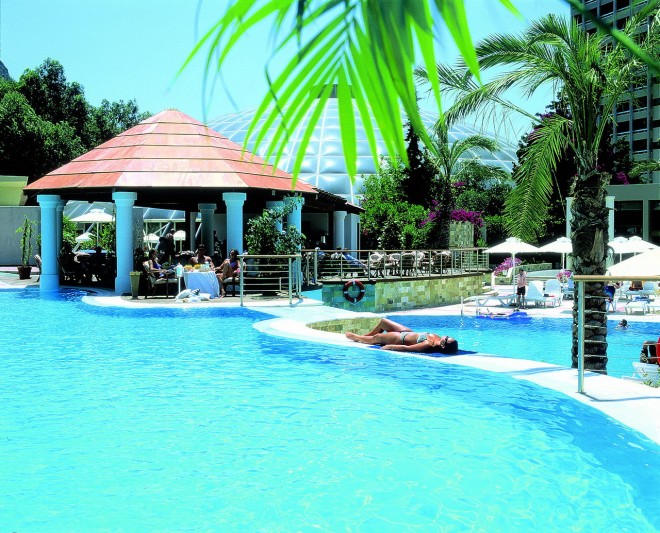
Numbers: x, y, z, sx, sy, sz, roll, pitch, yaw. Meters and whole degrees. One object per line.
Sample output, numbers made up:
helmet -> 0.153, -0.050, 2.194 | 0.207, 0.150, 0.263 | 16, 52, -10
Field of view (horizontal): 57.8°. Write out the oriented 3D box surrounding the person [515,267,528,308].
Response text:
person -> 6.913, 0.755, 21.599 | 0.295, 1.289, 1.659 | 1, 4, 17

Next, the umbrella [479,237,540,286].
umbrella -> 9.080, -0.202, 30.027 | 2.346, 1.957, 2.724 | 1, 1, -3

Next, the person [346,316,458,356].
person -> 1.431, 1.334, 10.899 | 1.481, 0.397, 0.845 | 3, 13, 41

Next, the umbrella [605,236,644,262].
umbrella -> 10.802, -0.659, 21.868 | 1.518, 0.673, 1.567 | 3, 5, 41

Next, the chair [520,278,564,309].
chair -> 7.848, 1.012, 21.933 | 0.875, 1.059, 1.622 | -1, -5, 25

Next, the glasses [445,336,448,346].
glasses -> 2.024, 1.280, 10.385 | 0.066, 0.136, 0.120 | 0, 4, 10
